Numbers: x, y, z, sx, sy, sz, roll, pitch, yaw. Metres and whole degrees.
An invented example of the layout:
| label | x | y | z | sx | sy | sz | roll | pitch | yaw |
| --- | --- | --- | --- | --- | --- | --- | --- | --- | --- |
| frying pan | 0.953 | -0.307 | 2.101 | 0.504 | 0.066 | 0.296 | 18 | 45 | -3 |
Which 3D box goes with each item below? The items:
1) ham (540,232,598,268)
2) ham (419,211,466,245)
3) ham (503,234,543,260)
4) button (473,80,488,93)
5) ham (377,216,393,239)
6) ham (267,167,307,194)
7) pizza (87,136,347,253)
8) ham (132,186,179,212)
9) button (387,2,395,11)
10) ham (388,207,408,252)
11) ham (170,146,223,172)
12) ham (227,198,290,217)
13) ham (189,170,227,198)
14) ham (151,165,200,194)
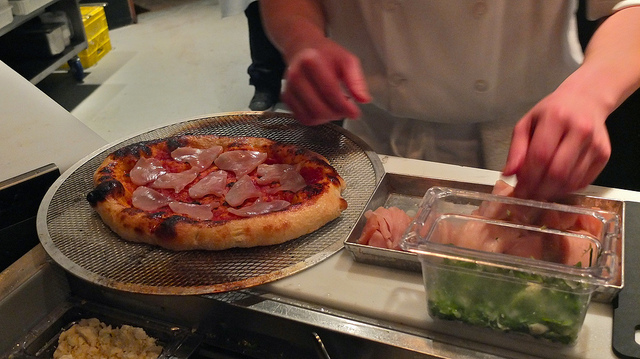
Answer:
| label | x | y | z | sx | sy | sz | roll | pitch | yaw |
| --- | --- | --- | --- | --- | --- | --- | --- | --- | --- |
| ham | 0.819 | 0.230 | 1.464 | 0.139 | 0.047 | 0.085 | 9 | 87 | 37 |
| ham | 0.417 | 0.178 | 1.531 | 0.118 | 0.089 | 0.131 | 19 | 54 | 22 |
| ham | 0.693 | 0.223 | 1.513 | 0.121 | 0.055 | 0.073 | 4 | 50 | 10 |
| button | 0.801 | -0.464 | 2.220 | 0.060 | 0.051 | 0.013 | 3 | 24 | 15 |
| ham | 0.241 | 0.178 | 1.687 | 0.035 | 0.023 | 0.079 | -13 | 62 | -18 |
| ham | -0.151 | 0.007 | 2.076 | 0.156 | 0.035 | 0.105 | -25 | 57 | 2 |
| pizza | -0.471 | 0.051 | 2.023 | 0.840 | 0.107 | 0.597 | 11 | 32 | 19 |
| ham | -0.774 | 0.099 | 2.035 | 0.222 | 0.024 | 0.111 | 20 | 53 | 23 |
| button | 0.343 | -0.831 | 2.158 | 0.034 | 0.028 | 0.007 | 2 | 14 | 6 |
| ham | 0.302 | 0.184 | 1.721 | 0.113 | 0.041 | 0.129 | 7 | 55 | -2 |
| ham | -0.614 | -0.105 | 2.236 | 0.209 | 0.044 | 0.115 | -15 | 73 | 5 |
| ham | -0.272 | 0.121 | 1.959 | 0.265 | 0.031 | 0.098 | -15 | 48 | -7 |
| ham | -0.522 | 0.026 | 2.097 | 0.133 | 0.032 | 0.130 | -36 | 51 | -17 |
| ham | -0.698 | 0.002 | 2.134 | 0.172 | 0.035 | 0.109 | -37 | 61 | -16 |
